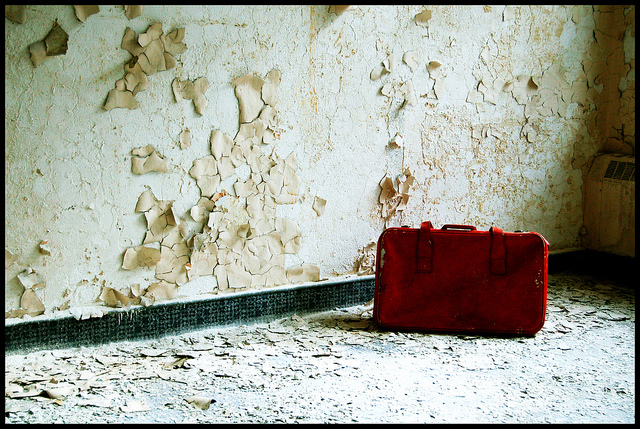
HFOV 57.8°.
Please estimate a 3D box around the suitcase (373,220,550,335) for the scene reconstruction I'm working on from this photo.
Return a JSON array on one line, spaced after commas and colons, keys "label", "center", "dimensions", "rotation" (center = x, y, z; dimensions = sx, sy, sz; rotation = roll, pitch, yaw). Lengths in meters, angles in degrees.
[{"label": "suitcase", "center": [0.733, 0.327, 3.015], "dimensions": [0.808, 0.565, 0.275], "rotation": [0, 6, 18]}]
